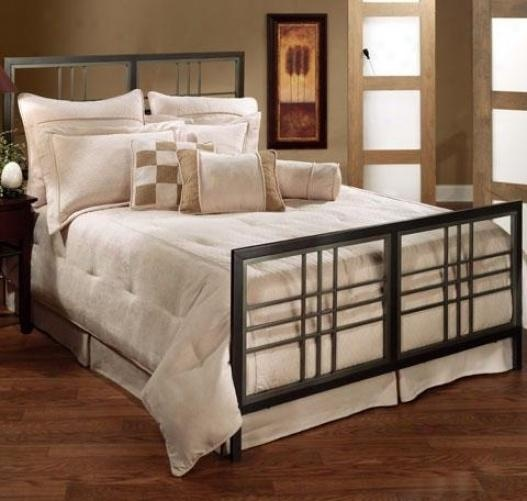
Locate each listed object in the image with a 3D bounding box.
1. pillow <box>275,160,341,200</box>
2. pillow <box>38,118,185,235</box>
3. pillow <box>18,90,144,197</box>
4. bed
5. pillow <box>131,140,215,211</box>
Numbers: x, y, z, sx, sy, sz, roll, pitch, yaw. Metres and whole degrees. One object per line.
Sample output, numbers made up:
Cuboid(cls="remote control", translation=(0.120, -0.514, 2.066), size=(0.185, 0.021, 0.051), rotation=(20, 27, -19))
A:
Cuboid(cls="pillow", translation=(0.239, -0.358, 3.080), size=(0.224, 0.107, 0.237), rotation=(6, 12, 22))
Cuboid(cls="pillow", translation=(-0.737, -0.338, 2.837), size=(0.478, 0.375, 0.119), rotation=(-15, -1, -17))
Cuboid(cls="pillow", translation=(-1.016, -0.514, 3.107), size=(0.606, 0.611, 0.173), rotation=(-6, -2, -42))
Cuboid(cls="bed", translation=(-0.214, -0.038, 2.716), size=(1.708, 1.150, 1.807), rotation=(-9, 18, -31))
Cuboid(cls="pillow", translation=(-0.438, -0.342, 2.811), size=(0.292, 0.322, 0.090), rotation=(1, -5, -22))
